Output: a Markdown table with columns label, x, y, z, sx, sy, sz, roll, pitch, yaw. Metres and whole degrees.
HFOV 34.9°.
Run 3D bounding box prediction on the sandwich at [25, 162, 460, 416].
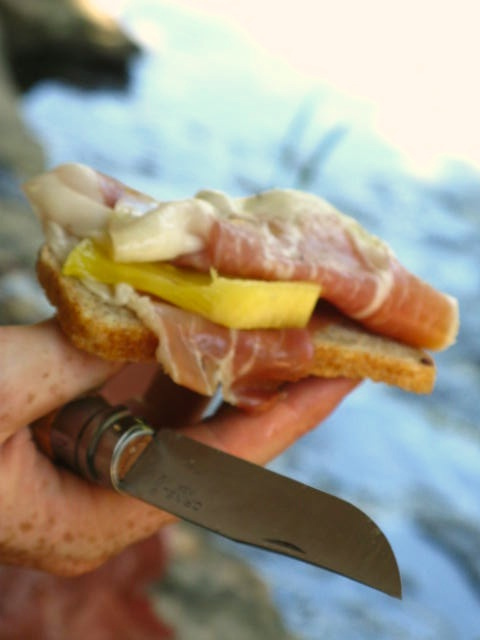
| label | x | y | z | sx | sy | sz | roll | pitch | yaw |
| --- | --- | --- | --- | --- | --- | --- | --- | --- | --- |
| sandwich | 0.026 | -0.001 | 1.579 | 0.817 | 0.247 | 0.497 | 6 | 40 | -20 |
